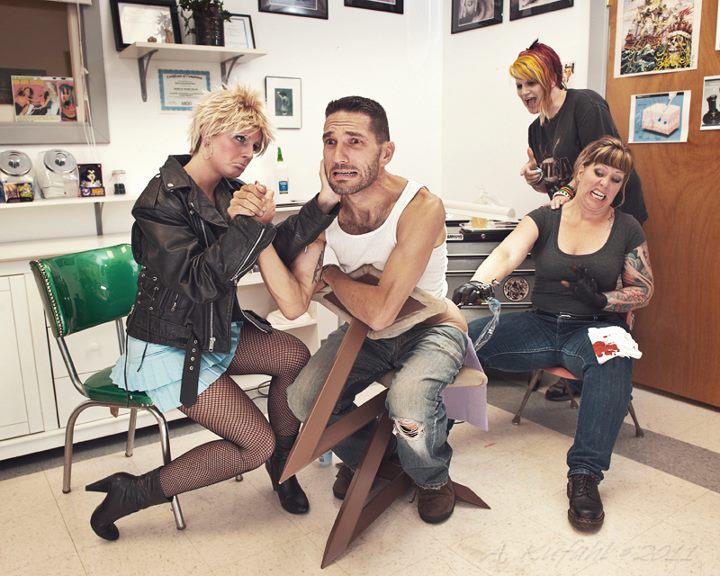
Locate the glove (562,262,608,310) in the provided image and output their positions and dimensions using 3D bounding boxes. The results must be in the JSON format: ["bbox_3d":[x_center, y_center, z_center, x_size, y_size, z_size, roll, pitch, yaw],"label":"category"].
[{"bbox_3d":[1.024,0.004,2.370,0.188,0.196,0.107,3,14,20],"label":"glove"}]

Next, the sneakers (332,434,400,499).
[{"bbox_3d":[0.099,0.749,2.273,0.147,0.181,0.448,-9,6,38],"label":"sneakers"}]

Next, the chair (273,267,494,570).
[{"bbox_3d":[-0.016,0.383,2.203,0.978,1.211,0.975,-3,10,-4],"label":"chair"}]

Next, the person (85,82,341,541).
[{"bbox_3d":[-0.525,0.128,1.846,0.917,1.596,0.381,-2,13,-2],"label":"person"}]

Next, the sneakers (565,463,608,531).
[{"bbox_3d":[0.849,0.801,1.968,0.091,0.108,0.252,0,7,12],"label":"sneakers"}]

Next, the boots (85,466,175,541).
[{"bbox_3d":[-0.838,0.801,1.898,0.319,0.234,0.114,-23,12,8],"label":"boots"}]

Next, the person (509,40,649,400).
[{"bbox_3d":[1.281,-0.456,2.959,0.693,1.747,0.642,-3,20,9],"label":"person"}]

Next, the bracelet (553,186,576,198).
[{"bbox_3d":[1.010,-0.466,2.562,0.086,0.049,0.103,-3,10,18],"label":"bracelet"}]

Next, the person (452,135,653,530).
[{"bbox_3d":[0.892,0.087,2.434,0.971,1.439,1.078,-6,8,-32],"label":"person"}]

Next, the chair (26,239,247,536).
[{"bbox_3d":[-0.898,0.351,2.157,0.732,0.949,0.700,-1,9,-11],"label":"chair"}]

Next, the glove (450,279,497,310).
[{"bbox_3d":[0.486,0.025,2.266,0.116,0.080,0.173,-1,-5,-12],"label":"glove"}]
